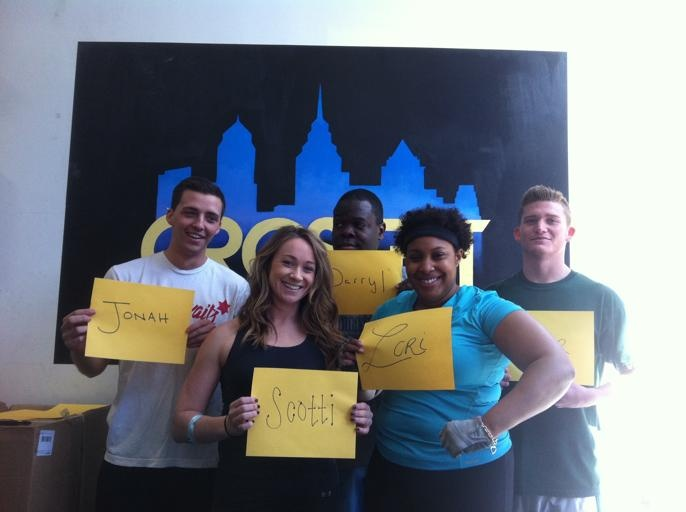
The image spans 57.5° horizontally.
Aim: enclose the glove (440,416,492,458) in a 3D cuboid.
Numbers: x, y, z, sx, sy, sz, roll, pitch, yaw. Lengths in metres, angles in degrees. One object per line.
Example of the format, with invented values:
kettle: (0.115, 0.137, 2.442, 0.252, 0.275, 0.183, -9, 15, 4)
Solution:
glove: (0.517, 0.751, 2.613, 0.178, 0.156, 0.078, -9, -3, 9)
